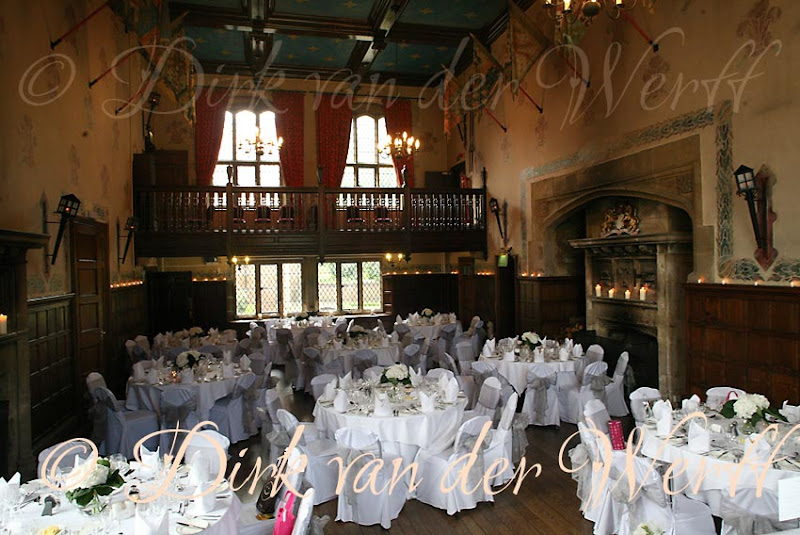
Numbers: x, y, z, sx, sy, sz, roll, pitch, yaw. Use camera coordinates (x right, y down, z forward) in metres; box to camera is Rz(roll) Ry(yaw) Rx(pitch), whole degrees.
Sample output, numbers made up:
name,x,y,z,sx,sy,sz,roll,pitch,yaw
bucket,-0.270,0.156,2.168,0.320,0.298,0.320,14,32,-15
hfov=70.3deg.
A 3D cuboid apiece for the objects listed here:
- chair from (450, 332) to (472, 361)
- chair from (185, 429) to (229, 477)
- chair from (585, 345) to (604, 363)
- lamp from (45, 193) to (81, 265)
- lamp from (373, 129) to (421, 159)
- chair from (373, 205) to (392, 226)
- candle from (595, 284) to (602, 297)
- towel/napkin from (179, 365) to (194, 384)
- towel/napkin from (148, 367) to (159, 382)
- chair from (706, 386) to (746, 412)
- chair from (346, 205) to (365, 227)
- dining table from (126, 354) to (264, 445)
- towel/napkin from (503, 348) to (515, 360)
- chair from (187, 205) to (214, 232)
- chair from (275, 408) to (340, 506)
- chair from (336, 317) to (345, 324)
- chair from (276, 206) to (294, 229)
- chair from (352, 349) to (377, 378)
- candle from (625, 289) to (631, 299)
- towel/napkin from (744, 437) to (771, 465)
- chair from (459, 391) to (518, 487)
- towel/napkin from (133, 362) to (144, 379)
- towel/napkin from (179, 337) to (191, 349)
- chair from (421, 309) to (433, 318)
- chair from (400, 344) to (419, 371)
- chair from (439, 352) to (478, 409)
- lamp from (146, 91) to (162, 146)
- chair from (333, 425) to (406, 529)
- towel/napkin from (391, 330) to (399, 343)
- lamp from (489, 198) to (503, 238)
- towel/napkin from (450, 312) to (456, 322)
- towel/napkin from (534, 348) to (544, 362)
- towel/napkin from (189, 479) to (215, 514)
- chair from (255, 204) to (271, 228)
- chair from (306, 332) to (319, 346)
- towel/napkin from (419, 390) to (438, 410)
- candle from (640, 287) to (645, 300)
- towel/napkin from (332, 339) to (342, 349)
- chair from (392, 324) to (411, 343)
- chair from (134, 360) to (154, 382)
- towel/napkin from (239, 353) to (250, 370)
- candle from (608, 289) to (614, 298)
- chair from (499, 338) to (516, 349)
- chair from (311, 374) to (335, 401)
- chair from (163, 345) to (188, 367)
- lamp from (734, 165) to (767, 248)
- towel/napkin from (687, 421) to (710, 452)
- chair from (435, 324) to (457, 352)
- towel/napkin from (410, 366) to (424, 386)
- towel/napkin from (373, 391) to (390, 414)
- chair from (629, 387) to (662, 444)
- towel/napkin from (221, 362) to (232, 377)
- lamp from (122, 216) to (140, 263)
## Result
name,x,y,z,sx,sy,sz,roll,pitch,yaw
chair,1.448,1.744,12.448,0.468,0.714,0.649,0,-3,-3
chair,-2.497,2.367,7.405,0.547,0.405,0.550,-2,9,-30
chair,3.733,1.652,11.006,0.327,0.499,0.329,0,-6,40
lamp,-6.123,-0.700,10.327,0.454,1.311,0.854,-1,-1,-35
lamp,0.139,-3.343,15.448,1.184,0.892,1.293,8,16,42
chair,-0.483,-1.394,15.210,0.482,0.556,0.461,-8,10,-44
candle,4.418,0.514,12.663,0.140,0.285,0.257,-2,-1,19
towel/napkin,-3.652,1.867,9.707,0.178,0.269,0.259,-3,-13,9
towel/napkin,-4.303,1.895,9.937,0.146,0.174,0.364,-2,-2,-23
chair,4.748,1.904,8.380,0.486,0.228,0.414,-5,3,1
chair,-1.210,-1.399,15.153,0.441,0.664,0.517,5,6,35
dining table,-3.516,2.227,9.908,1.616,0.856,1.610,-2,4,-37
towel/napkin,2.087,1.676,10.925,0.167,0.180,0.164,1,-3,23
chair,-4.954,-1.224,14.371,0.571,0.636,0.625,0,2,18
chair,-1.269,2.653,7.811,0.746,1.237,0.977,-10,16,-29
chair,-1.677,1.499,15.967,0.189,0.223,0.223,8,-7,-19
chair,-2.930,-1.294,14.604,0.491,0.775,0.514,0,1,-10
chair,-0.800,1.994,12.076,0.434,0.646,0.218,3,2,-7
candle,4.764,0.561,11.884,0.023,0.244,0.183,-2,3,-29
towel/napkin,4.356,2.218,6.996,0.307,0.330,0.307,-1,1,-4
chair,1.343,2.562,8.911,1.063,1.536,1.189,1,0,23
towel/napkin,-4.650,1.829,10.064,0.210,0.325,0.208,-5,8,-39
towel/napkin,-5.024,1.757,13.247,0.258,0.285,0.222,-2,3,-44
chair,0.754,1.261,15.681,0.232,0.210,0.719,-2,-2,11
chair,0.194,1.847,11.583,0.342,0.486,0.264,13,21,32
chair,1.190,2.220,10.905,0.760,1.314,0.811,-4,10,-10
lamp,-7.179,-4.137,16.447,0.386,1.197,1.262,-2,-1,-23
chair,-0.435,2.958,7.850,0.838,1.345,0.938,7,22,20
towel/napkin,-0.140,1.669,13.540,0.126,0.229,0.193,4,25,6
lamp,2.574,-1.335,15.255,0.359,1.042,0.609,-2,-1,-6
towel/napkin,1.459,1.367,15.560,0.177,0.346,0.222,-2,2,-6
towel/napkin,2.593,1.660,10.728,0.217,0.244,0.164,-2,4,-25
towel/napkin,-2.226,2.616,6.477,0.246,0.377,0.349,1,-3,-24
chair,-3.454,-1.325,14.760,0.483,0.739,0.518,0,8,-9
chair,-2.062,1.698,13.313,0.266,0.222,0.257,-1,-1,-10
towel/napkin,0.404,1.973,8.482,0.214,0.253,0.240,1,4,8
candle,4.925,0.534,11.543,0.115,0.268,0.099,-2,-1,-16
towel/napkin,-1.390,1.717,12.637,0.158,0.195,0.177,3,-6,-45
chair,0.013,1.595,13.995,0.325,0.352,0.345,0,-1,7
chair,-4.655,1.883,10.284,0.272,0.300,0.291,-1,-2,8
towel/napkin,-2.868,1.764,10.520,0.222,0.319,0.235,-8,16,-21
candle,4.573,0.550,12.307,0.145,0.248,0.153,-1,0,1
chair,2.213,1.565,11.721,0.191,0.207,0.266,-1,-11,9
chair,-1.290,1.993,9.496,0.421,0.517,0.409,0,7,-9
chair,-4.677,1.849,11.784,0.464,0.425,0.421,3,-4,-30
lamp,5.614,-0.982,9.135,0.229,1.497,0.358,-2,-1,-20
towel/napkin,3.788,2.171,7.218,0.230,0.416,0.304,-8,6,-41
chair,1.081,1.767,14.518,0.536,0.824,0.561,-2,8,-26
towel/napkin,0.254,1.820,9.514,0.262,0.334,0.304,-1,1,44
towel/napkin,-0.262,2.009,8.406,0.246,0.293,0.251,-2,2,-9
chair,3.492,2.078,8.212,0.503,0.886,0.610,-2,-5,7
towel/napkin,-3.064,1.816,10.095,0.208,0.250,0.204,3,-6,-41
lamp,-6.437,-0.634,13.486,0.353,0.743,0.918,-2,-1,-26
